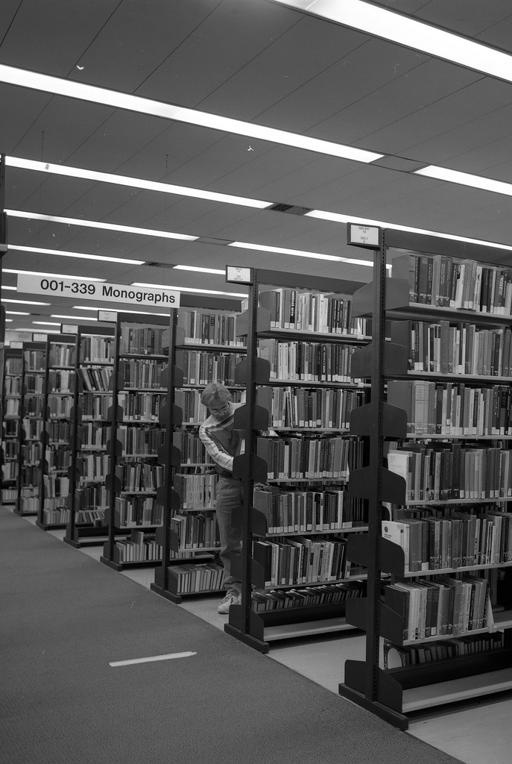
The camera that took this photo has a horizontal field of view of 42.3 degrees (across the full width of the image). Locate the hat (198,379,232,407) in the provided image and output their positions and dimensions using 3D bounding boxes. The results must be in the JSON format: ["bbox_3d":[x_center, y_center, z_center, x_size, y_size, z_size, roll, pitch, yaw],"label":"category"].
[{"bbox_3d":[-0.311,0.077,4.824,0.149,0.083,0.216,-4,18,-4],"label":"hat"}]

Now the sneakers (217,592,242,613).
[{"bbox_3d":[-0.198,1.478,4.453,0.105,0.136,0.300,-9,-14,26],"label":"sneakers"}]

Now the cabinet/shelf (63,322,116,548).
[{"bbox_3d":[-1.777,0.964,7.306,0.388,1.846,0.346,9,19,12],"label":"cabinet/shelf"}]
